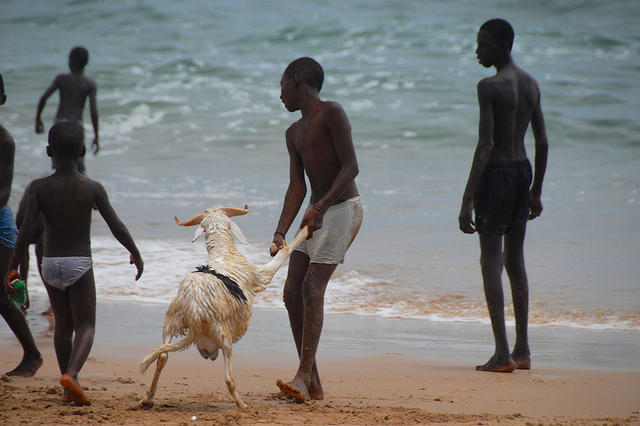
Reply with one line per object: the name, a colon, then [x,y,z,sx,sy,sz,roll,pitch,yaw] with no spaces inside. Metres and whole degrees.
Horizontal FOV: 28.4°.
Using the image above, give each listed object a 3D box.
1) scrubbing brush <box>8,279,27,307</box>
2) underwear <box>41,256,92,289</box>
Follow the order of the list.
scrubbing brush: [-5.769,1.484,24.202,0.338,0.398,0.451,-6,7,-10]
underwear: [-4.826,1.105,24.316,1.147,0.573,0.690,-2,8,12]
